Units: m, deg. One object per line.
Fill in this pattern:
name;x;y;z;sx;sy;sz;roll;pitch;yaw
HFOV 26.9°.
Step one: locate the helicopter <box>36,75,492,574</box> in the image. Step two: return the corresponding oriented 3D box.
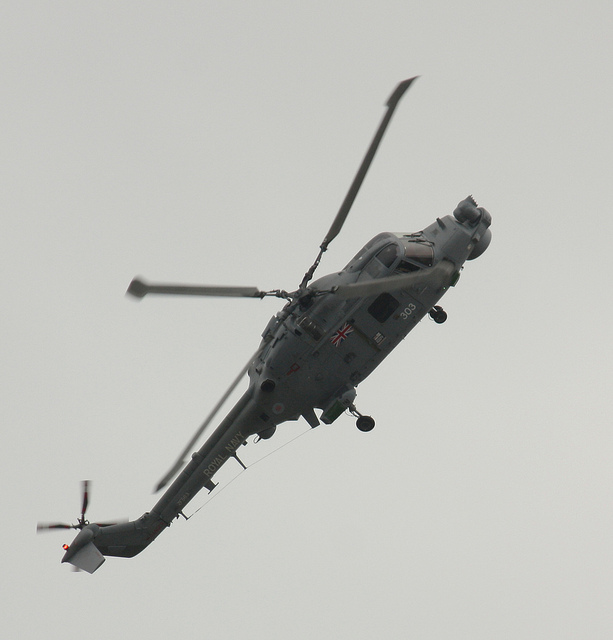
helicopter;-1.228;0.194;24.918;12.230;3.646;5.758;-36;-39;4
